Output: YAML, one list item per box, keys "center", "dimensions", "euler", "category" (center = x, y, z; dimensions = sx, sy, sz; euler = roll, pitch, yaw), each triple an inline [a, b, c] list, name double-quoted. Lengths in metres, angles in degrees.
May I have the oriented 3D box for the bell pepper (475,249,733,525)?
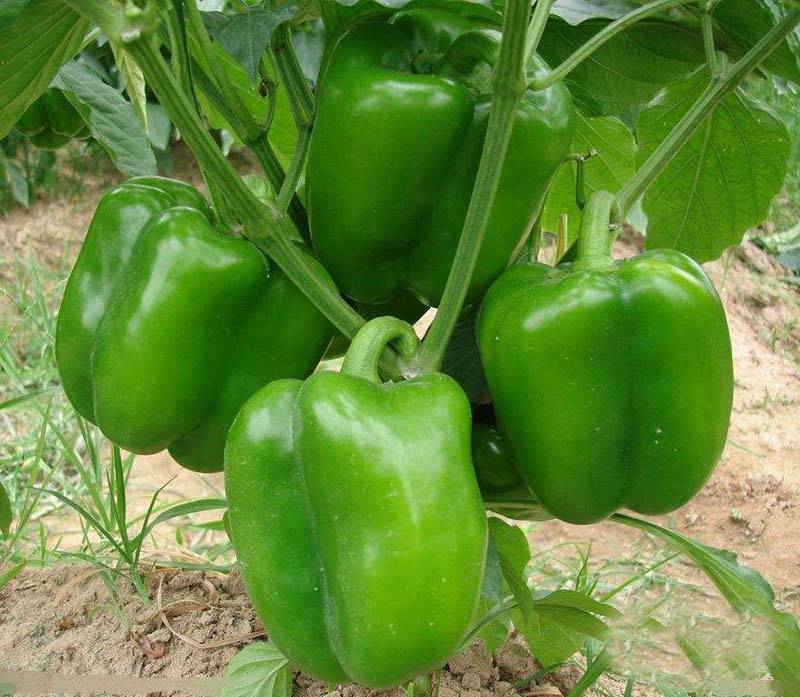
- center: [0.283, 0.014, 1.115]
  dimensions: [0.339, 0.384, 0.330]
  euler: [-16, 16, -32]
  category: "bell pepper"
